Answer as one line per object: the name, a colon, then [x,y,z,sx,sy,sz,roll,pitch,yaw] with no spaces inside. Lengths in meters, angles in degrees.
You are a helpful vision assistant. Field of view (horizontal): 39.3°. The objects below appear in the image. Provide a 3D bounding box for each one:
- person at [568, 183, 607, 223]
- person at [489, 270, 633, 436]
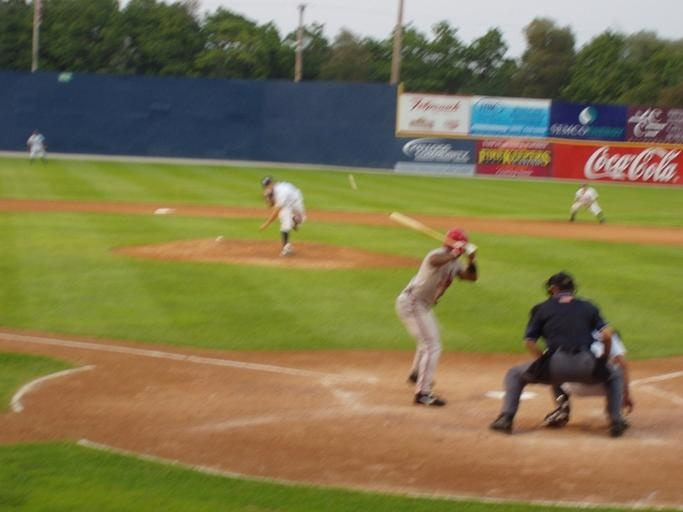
person: [8.303,-1.830,31.943,1.065,1.229,3.623,6,10,14]
person: [3.112,1.386,13.201,1.781,2.214,0.484,5,12,6]
